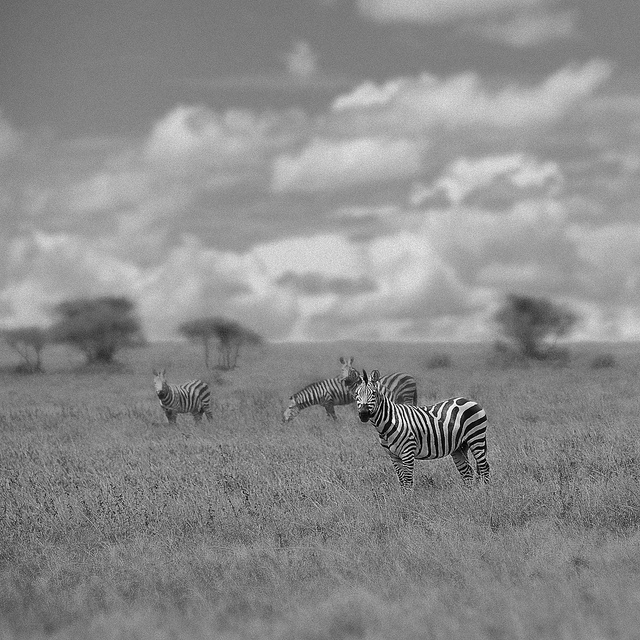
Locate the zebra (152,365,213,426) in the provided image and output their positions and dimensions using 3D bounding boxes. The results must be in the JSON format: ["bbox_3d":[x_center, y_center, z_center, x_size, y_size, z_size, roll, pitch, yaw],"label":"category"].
[{"bbox_3d":[-1.734,0.999,16.553,0.817,0.730,0.249,5,-3,-42],"label":"zebra"}]

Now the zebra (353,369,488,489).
[{"bbox_3d":[1.027,1.149,13.811,1.548,1.272,0.567,0,4,-20],"label":"zebra"}]

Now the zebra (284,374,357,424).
[{"bbox_3d":[-0.058,0.969,16.611,0.882,0.543,0.219,-19,17,-22],"label":"zebra"}]
